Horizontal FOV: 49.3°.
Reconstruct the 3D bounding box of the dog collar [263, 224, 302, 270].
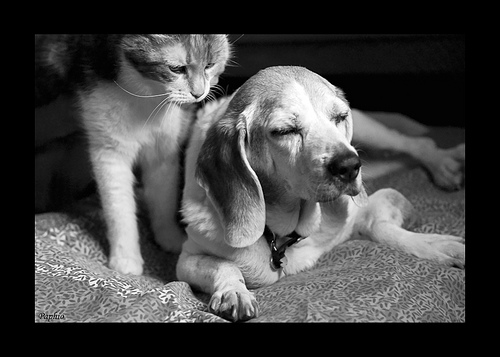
[{"bbox_3d":[0.181,0.391,3.283,0.189,0.288,0.099,9,-6,-15],"label":"dog collar"}]
